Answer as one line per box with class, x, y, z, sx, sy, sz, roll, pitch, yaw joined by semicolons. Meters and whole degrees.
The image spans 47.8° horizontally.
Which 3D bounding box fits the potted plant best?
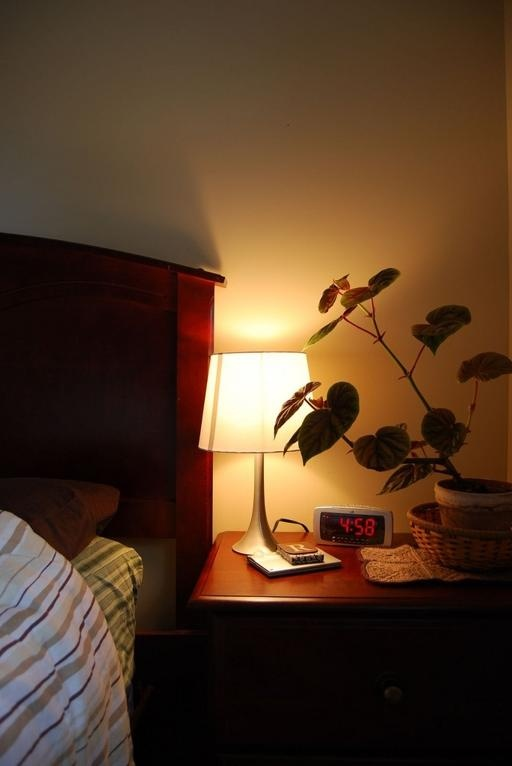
potted plant;0.252;0.005;1.136;0.435;0.521;0.470;-1;-4;1
